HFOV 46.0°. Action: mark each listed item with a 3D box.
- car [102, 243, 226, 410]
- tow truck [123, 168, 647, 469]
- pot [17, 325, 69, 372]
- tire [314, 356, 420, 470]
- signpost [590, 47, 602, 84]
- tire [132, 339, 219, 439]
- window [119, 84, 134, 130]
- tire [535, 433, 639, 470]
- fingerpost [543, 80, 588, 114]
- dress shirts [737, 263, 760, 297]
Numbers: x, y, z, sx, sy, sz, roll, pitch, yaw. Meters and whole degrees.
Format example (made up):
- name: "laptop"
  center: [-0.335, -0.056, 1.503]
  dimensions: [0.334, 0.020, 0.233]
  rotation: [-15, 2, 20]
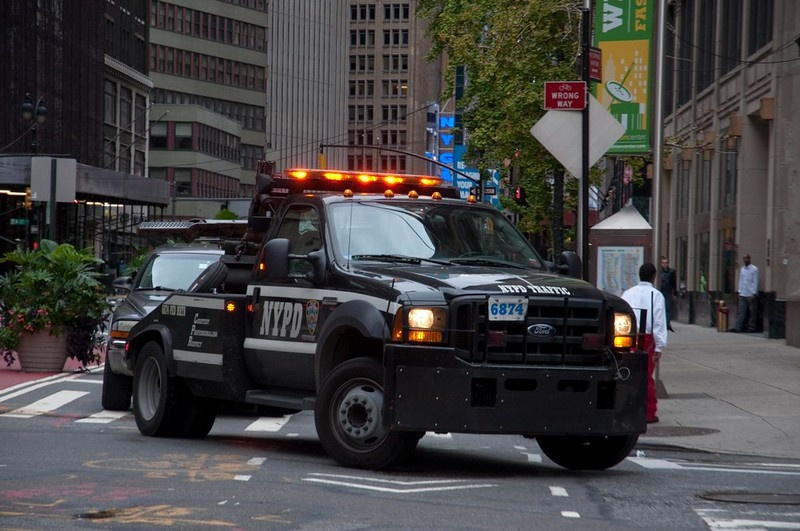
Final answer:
- name: "car"
  center: [-3.928, 0.936, 17.486]
  dimensions: [2.548, 2.693, 4.636]
  rotation: [3, 8, -10]
- name: "tow truck"
  center: [-0.315, 0.721, 10.898]
  dimensions: [5.725, 2.530, 2.049]
  rotation: [1, 0, 34]
- name: "pot"
  center: [-7.008, 1.658, 18.579]
  dimensions: [0.853, 0.653, 0.883]
  rotation: [0, -5, 0]
- name: "tire"
  center: [-0.391, 1.580, 10.052]
  dimensions: [1.145, 1.193, 0.480]
  rotation: [11, 6, 28]
- name: "signpost"
  center: [3.312, -3.443, 16.107]
  dimensions: [0.125, 0.517, 0.518]
  rotation: [1, 0, 22]
- name: "tire"
  center: [-3.164, 1.709, 12.779]
  dimensions: [0.619, 1.387, 1.338]
  rotation: [5, -4, -38]
- name: "window"
  center: [-23.754, -13.495, 81.386]
  dimensions: [0.635, 3.668, 3.322]
  rotation: [1, 0, -10]
- name: "tire"
  center: [2.126, 2.147, 10.810]
  dimensions: [0.688, 0.167, 0.705]
  rotation: [1, 13, 6]
- name: "fingerpost"
  center: [2.587, -2.613, 14.735]
  dimensions: [0.601, 0.444, 0.080]
  rotation: [4, -2, 3]
- name: "dress shirts"
  center: [12.095, 0.564, 32.832]
  dimensions: [0.606, 1.150, 0.430]
  rotation: [1, 0, 24]
